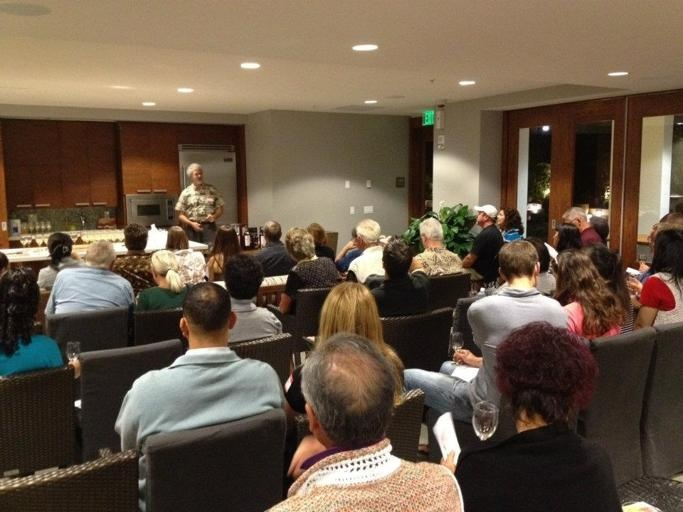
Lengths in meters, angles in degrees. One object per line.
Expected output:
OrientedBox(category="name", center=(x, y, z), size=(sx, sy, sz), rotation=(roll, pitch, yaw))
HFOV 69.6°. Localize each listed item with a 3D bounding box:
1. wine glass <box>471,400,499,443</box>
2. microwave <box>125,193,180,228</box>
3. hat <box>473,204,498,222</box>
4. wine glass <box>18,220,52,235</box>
OrientedBox(category="wine glass", center=(0.600, 0.691, 2.033), size=(0.087, 0.192, 0.083), rotation=(0, 9, 24))
OrientedBox(category="microwave", center=(-3.312, -0.794, 8.482), size=(0.757, 0.539, 0.400), rotation=(-3, 5, -37))
OrientedBox(category="hat", center=(1.883, -0.554, 6.420), size=(0.305, 0.180, 0.232), rotation=(27, 12, 8))
OrientedBox(category="wine glass", center=(-5.154, -0.490, 8.284), size=(0.205, 0.265, 0.389), rotation=(4, 5, 44))
